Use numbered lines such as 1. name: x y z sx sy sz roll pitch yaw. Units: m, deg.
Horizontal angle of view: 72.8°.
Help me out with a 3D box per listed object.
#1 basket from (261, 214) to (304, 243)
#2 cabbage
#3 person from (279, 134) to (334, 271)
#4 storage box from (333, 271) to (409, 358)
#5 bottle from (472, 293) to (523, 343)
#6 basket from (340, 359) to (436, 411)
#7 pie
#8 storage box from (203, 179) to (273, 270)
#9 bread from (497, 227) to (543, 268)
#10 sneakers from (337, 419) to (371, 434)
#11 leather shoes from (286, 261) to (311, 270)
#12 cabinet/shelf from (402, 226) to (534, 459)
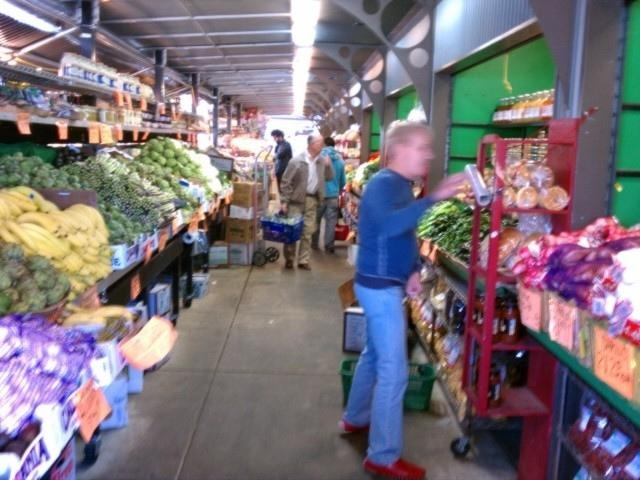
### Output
1. basket: -0.605 -0.236 6.604 0.471 0.297 0.477 4 10 11
2. cabbage: -2.117 -1.090 5.857 0.723 0.419 0.992 30 15 -15
3. person: -0.246 -0.627 7.060 0.433 2.137 1.064 11 15 36
4. storage box: 0.485 0.717 4.517 0.567 0.825 0.631 -2 11 -7
5. bottle: 1.033 0.445 2.485 0.288 0.280 0.179 0 6 9
6. basket: 0.509 1.086 3.325 0.601 0.293 0.394 -2 22 0
7. pie: 1.151 -0.302 2.384 0.327 0.253 0.266 2 12 0
8. storage box: -1.309 -0.011 7.948 1.141 2.004 2.142 2 7 -1
9. bread: 1.100 0.020 2.493 0.219 0.222 0.060 23 -7 31
10. sneakers: 0.229 1.287 3.055 0.229 0.092 0.082 -2 6 -3
11. leather shoes: -0.368 0.385 7.103 0.432 0.188 0.144 -1 3 -5
12. cabinet/shelf: 0.962 0.694 2.818 0.326 0.720 1.467 2 4 6
